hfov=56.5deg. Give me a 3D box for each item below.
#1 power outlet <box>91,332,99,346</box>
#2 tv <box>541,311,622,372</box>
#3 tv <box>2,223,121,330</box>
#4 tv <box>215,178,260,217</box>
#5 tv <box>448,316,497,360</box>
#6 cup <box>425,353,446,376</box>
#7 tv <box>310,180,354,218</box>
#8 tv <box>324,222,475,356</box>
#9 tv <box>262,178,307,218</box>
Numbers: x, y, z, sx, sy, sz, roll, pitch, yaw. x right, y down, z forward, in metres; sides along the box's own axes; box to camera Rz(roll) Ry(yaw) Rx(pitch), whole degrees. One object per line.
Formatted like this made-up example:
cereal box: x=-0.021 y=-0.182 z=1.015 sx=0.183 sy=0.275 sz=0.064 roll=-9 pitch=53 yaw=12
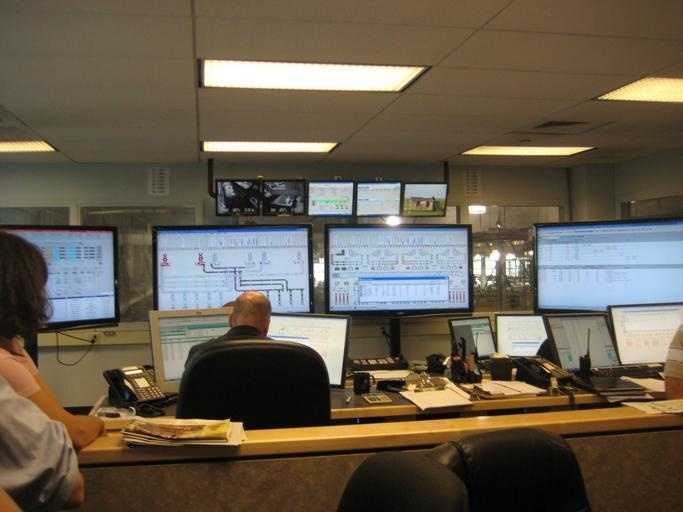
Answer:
power outlet: x=-2.394 y=0.819 z=6.220 sx=0.068 sy=0.088 sz=0.033 roll=2 pitch=-7 yaw=-8
tv: x=1.438 y=0.487 z=3.869 sx=0.570 sy=0.347 sz=0.310 roll=-2 pitch=3 yaw=-9
tv: x=-1.671 y=0.124 z=3.837 sx=0.848 sy=0.688 sz=0.071 roll=0 pitch=-4 yaw=-24
tv: x=-1.025 y=-0.590 z=6.375 sx=0.410 sy=0.312 sz=0.039 roll=1 pitch=5 yaw=-2
tv: x=0.961 y=0.599 z=4.611 sx=0.367 sy=0.237 sz=0.093 roll=4 pitch=-19 yaw=-38
cup: x=0.621 y=0.724 z=4.180 sx=0.096 sy=0.123 sz=0.122 roll=-1 pitch=0 yaw=-1
tv: x=-0.102 y=-0.604 z=6.601 sx=0.416 sy=0.276 sz=0.055 roll=0 pitch=4 yaw=-5
tv: x=0.513 y=0.254 z=5.707 sx=1.475 sy=1.199 sz=0.288 roll=1 pitch=-8 yaw=-8
tv: x=-0.571 y=-0.595 z=6.456 sx=0.427 sy=0.287 sz=0.054 roll=1 pitch=-4 yaw=-16
